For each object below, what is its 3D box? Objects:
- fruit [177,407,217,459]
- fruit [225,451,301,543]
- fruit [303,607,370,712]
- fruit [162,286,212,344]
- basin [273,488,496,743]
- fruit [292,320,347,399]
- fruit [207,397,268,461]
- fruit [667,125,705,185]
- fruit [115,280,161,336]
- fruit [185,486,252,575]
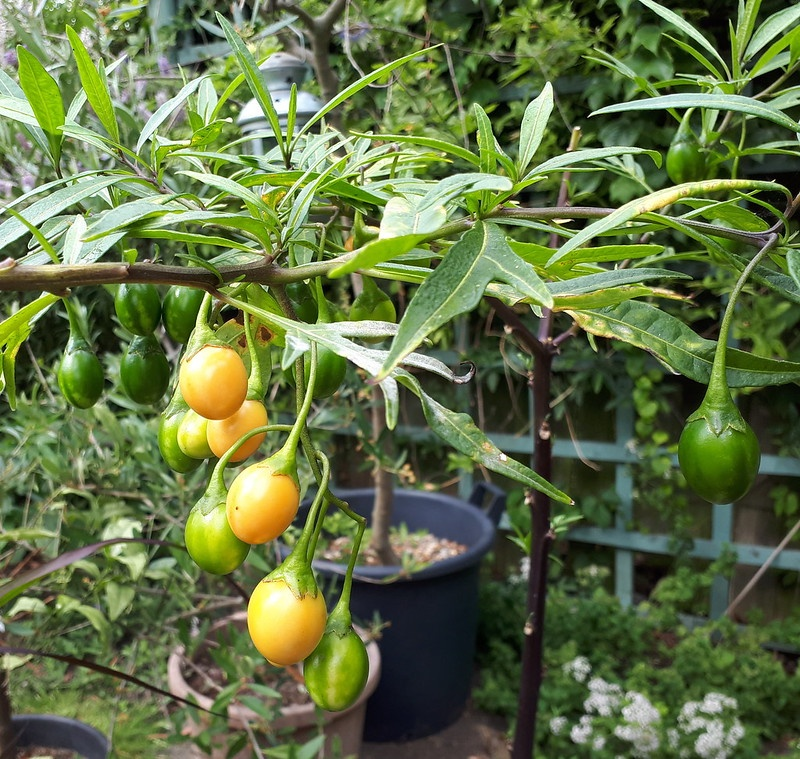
[{"bbox_3d":[-0.192,0.049,0.753,0.034,0.044,0.035,-6,6,-16],"label":"fruit"},{"bbox_3d":[-0.117,0.107,0.689,0.066,0.075,0.059,-11,36,-10],"label":"fruit"},{"bbox_3d":[-0.056,0.254,0.725,0.056,0.089,0.056,3,5,9],"label":"fruit"},{"bbox_3d":[-0.221,-0.066,0.820,0.040,0.061,0.038,7,2,12],"label":"fruit"},{"bbox_3d":[0.038,0.670,2.391,0.720,0.594,0.600,-5,7,-42],"label":"basin"},{"bbox_3d":[-0.073,-0.017,0.761,0.047,0.053,0.045,-1,-2,-8],"label":"fruit"},{"bbox_3d":[-0.148,0.046,0.729,0.057,0.066,0.055,10,7,-5],"label":"fruit"},{"bbox_3d":[0.386,-0.294,1.066,0.051,0.068,0.062,17,40,26],"label":"fruit"},{"bbox_3d":[-0.267,-0.067,0.807,0.057,0.044,0.039,0,-29,-40],"label":"fruit"},{"bbox_3d":[-0.159,0.133,0.702,0.068,0.077,0.066,0,-7,-9],"label":"fruit"}]
